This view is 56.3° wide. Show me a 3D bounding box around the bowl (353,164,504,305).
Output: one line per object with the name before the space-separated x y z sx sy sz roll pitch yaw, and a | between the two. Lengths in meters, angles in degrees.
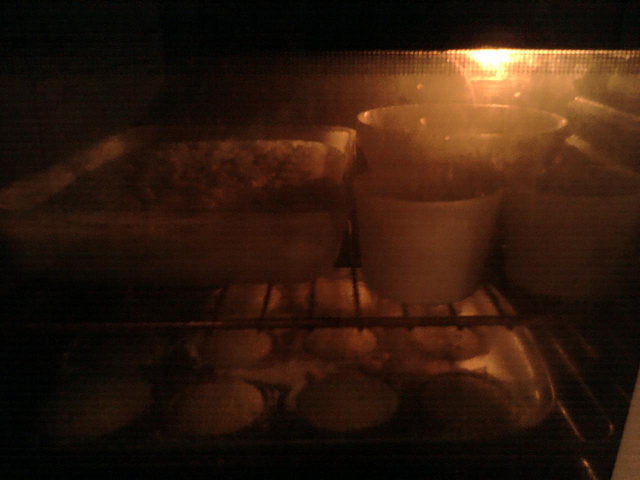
bowl | 0.196 -0.040 1.236 0.326 0.212 0.254 -5 28 -7

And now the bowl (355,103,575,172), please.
bowl | 0.257 -0.200 1.126 0.412 0.124 0.131 0 38 7
